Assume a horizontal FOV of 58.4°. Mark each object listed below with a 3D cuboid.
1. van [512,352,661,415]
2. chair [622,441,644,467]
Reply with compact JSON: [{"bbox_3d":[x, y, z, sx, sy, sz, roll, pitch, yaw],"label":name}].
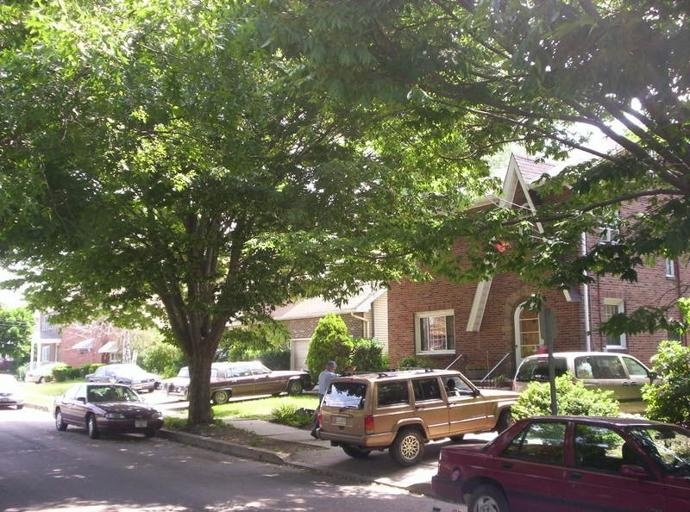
[{"bbox_3d":[6.594,3.375,16.485,3.611,1.736,1.012,-8,-1,-10],"label":"van"},{"bbox_3d":[3.704,2.572,7.969,0.234,0.229,0.174,9,-12,-14],"label":"chair"}]
